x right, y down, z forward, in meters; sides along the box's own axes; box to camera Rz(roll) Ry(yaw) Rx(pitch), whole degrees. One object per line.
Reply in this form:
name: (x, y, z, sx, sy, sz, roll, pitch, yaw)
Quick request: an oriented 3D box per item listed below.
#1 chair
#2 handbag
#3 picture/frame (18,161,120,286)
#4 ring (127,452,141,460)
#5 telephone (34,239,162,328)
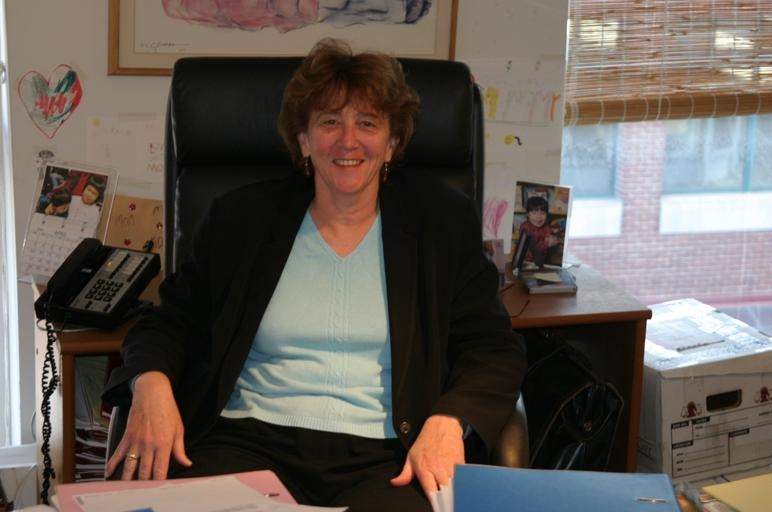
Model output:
chair: (-0.169, -0.013, 2.590, 1.188, 1.595, 1.337, 1, 6, -1)
handbag: (0.677, 0.533, 2.548, 0.247, 0.406, 0.426, 4, 21, -22)
picture/frame: (-1.216, -0.117, 2.715, 0.333, 0.469, 0.107, 7, -8, 5)
ring: (-0.694, 0.543, 1.924, 0.020, 0.006, 0.019, 4, 9, -1)
telephone: (-0.985, 0.085, 2.422, 0.330, 0.154, 0.396, 1, 38, 4)
